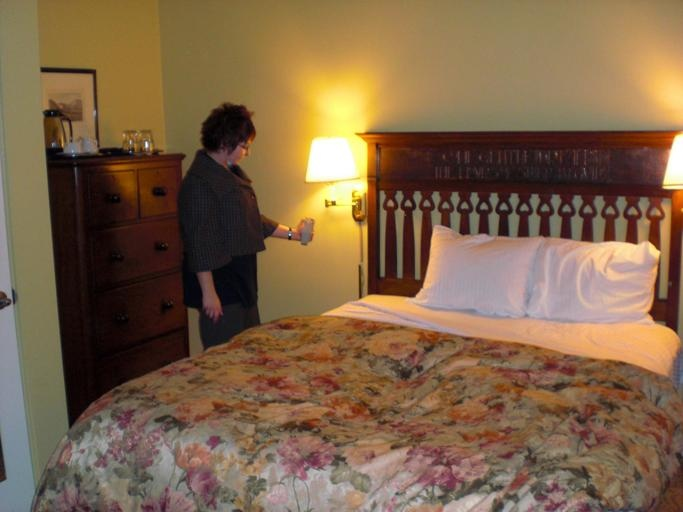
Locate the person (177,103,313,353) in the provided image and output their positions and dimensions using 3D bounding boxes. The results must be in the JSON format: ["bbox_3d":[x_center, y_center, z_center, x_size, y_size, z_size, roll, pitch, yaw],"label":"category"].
[{"bbox_3d":[-0.659,-0.156,3.146,0.464,1.327,0.316,-7,13,-17],"label":"person"}]

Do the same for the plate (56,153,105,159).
[{"bbox_3d":[-1.563,-0.600,3.437,0.291,0.044,0.232,-10,14,-27],"label":"plate"}]

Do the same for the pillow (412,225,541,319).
[{"bbox_3d":[0.803,0.092,3.412,0.700,0.424,0.376,4,14,29],"label":"pillow"}]

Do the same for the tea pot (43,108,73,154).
[{"bbox_3d":[-1.783,-0.801,3.637,0.137,0.268,0.426,-8,13,-21],"label":"tea pot"}]

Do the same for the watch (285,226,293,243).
[{"bbox_3d":[-0.314,-0.137,3.562,0.038,0.064,0.057,0,15,-4],"label":"watch"}]
